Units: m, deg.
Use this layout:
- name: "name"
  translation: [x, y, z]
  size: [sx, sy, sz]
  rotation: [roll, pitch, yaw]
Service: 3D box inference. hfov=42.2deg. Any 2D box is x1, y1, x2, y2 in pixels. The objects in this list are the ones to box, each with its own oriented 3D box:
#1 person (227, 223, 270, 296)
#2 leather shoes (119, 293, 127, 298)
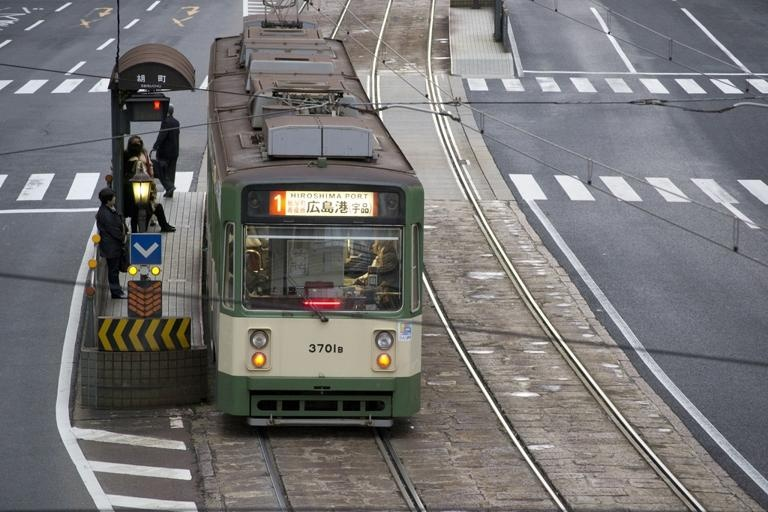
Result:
- name: "person"
  translation: [-2.199, 0.105, 16.240]
  size: [0.885, 1.226, 0.229]
  rotation: [1, 12, 11]
- name: "leather shoes"
  translation: [-5.681, 0.877, 21.612]
  size: [0.127, 0.111, 0.318]
  rotation: [-1, -4, -11]
